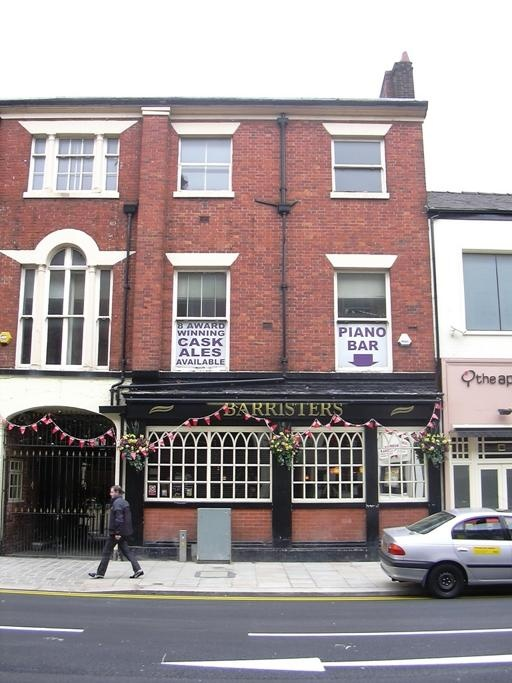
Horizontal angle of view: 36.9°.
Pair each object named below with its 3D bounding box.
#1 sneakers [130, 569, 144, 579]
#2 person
[{"bbox_3d":[-2.031,3.859,12.707,0.283,0.115,0.095,-11,-18,19],"label":"sneakers"},{"bbox_3d":[-2.340,3.185,12.860,0.834,1.501,0.585,0,-12,-4],"label":"person"}]
